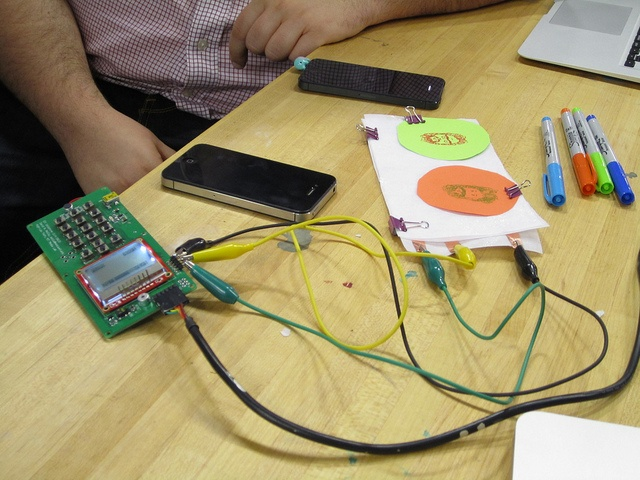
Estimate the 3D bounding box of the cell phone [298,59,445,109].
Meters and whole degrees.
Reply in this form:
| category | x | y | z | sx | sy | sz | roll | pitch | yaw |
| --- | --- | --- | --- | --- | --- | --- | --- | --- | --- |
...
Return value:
| category | x | y | z | sx | sy | sz | roll | pitch | yaw |
| --- | --- | --- | --- | --- | --- | --- | --- | --- | --- |
| cell phone | 0.096 | -0.334 | 1.053 | 0.307 | 0.029 | 0.122 | 11 | 38 | 5 |

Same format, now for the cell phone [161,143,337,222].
| category | x | y | z | sx | sy | sz | roll | pitch | yaw |
| --- | --- | --- | --- | --- | --- | --- | --- | --- | --- |
| cell phone | -0.110 | -0.103 | 0.837 | 0.272 | 0.025 | 0.126 | 16 | 40 | 14 |
